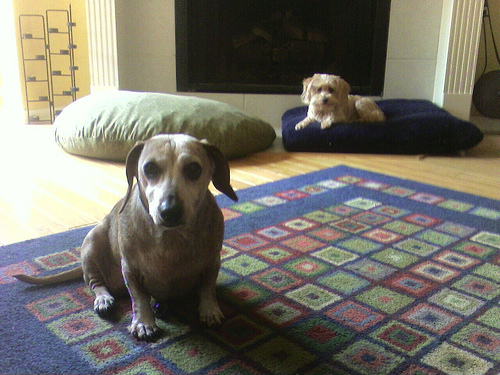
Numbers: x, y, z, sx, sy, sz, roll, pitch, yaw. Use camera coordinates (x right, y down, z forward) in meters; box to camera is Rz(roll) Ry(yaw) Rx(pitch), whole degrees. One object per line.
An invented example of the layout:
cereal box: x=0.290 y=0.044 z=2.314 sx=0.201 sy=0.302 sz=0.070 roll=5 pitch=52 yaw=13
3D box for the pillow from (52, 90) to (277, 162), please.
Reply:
pillow: x=-0.674 y=-0.475 z=3.228 sx=1.020 sy=0.312 sz=0.741 roll=0 pitch=16 yaw=-5

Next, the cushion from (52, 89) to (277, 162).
cushion: x=-0.657 y=-0.459 z=3.229 sx=1.032 sy=0.321 sz=0.773 roll=2 pitch=16 yaw=-2

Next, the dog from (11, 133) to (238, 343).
dog: x=-0.384 y=0.113 z=1.501 sx=0.543 sy=0.452 sz=0.620 roll=0 pitch=5 yaw=-21

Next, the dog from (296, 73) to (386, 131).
dog: x=0.685 y=-0.641 z=3.580 sx=0.449 sy=0.320 sz=0.630 roll=3 pitch=7 yaw=42
